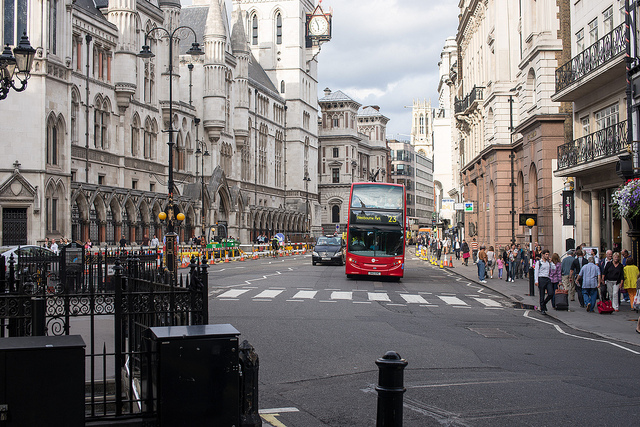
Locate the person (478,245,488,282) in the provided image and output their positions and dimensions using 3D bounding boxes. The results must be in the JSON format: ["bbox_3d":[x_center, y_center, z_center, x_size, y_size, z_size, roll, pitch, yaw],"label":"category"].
[{"bbox_3d":[8.295,2.451,44.007,0.429,1.765,1.564,-2,-6,10],"label":"person"}]

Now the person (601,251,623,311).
[{"bbox_3d":[10.836,2.450,31.893,0.758,2.131,1.384,-3,-6,20],"label":"person"}]

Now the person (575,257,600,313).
[{"bbox_3d":[10.047,2.575,32.078,0.699,2.047,1.425,-2,-6,14],"label":"person"}]

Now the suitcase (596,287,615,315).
[{"bbox_3d":[10.216,3.255,30.869,0.387,0.842,0.515,-3,-11,-6],"label":"suitcase"}]

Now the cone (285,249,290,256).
[{"bbox_3d":[-3.221,3.632,83.592,0.509,1.010,0.529,-1,1,3],"label":"cone"}]

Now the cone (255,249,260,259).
[{"bbox_3d":[-5.509,3.363,75.213,0.581,0.688,0.583,2,-6,-27],"label":"cone"}]

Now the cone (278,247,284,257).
[{"bbox_3d":[-3.709,3.555,80.707,0.399,0.792,0.415,-1,2,0],"label":"cone"}]

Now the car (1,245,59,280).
[{"bbox_3d":[-9.853,1.588,29.125,1.139,1.001,2.043,0,3,31],"label":"car"}]

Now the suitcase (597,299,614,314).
[{"bbox_3d":[10.274,3.270,30.988,0.496,0.510,0.427,-3,-6,17],"label":"suitcase"}]

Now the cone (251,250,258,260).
[{"bbox_3d":[-5.495,3.351,71.394,0.431,0.623,0.437,3,-9,-19],"label":"cone"}]

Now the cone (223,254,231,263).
[{"bbox_3d":[-6.963,3.205,63.949,0.492,0.598,0.503,-6,-6,41],"label":"cone"}]

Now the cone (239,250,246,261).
[{"bbox_3d":[-6.214,3.232,68.318,0.565,0.817,0.586,-1,-1,-2],"label":"cone"}]
